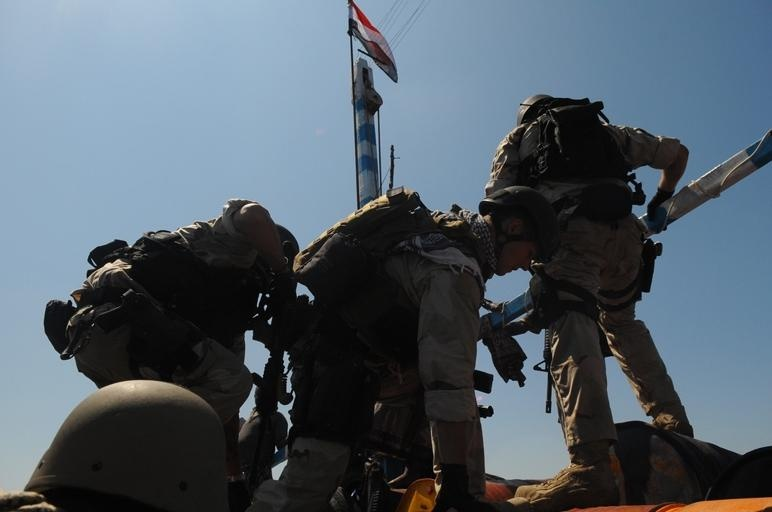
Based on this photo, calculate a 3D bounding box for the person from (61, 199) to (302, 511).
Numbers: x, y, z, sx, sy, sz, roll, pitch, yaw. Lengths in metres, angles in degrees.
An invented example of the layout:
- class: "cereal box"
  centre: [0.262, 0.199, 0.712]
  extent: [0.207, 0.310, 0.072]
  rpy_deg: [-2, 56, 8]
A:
- class: "person"
  centre: [-1.434, 0.774, 6.921]
  extent: [1.372, 1.612, 1.191]
  rpy_deg: [19, -68, -18]

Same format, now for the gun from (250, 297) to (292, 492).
- class: "gun"
  centre: [-0.868, 1.012, 7.334]
  extent: [0.139, 1.785, 0.773]
  rpy_deg: [5, -1, -3]
